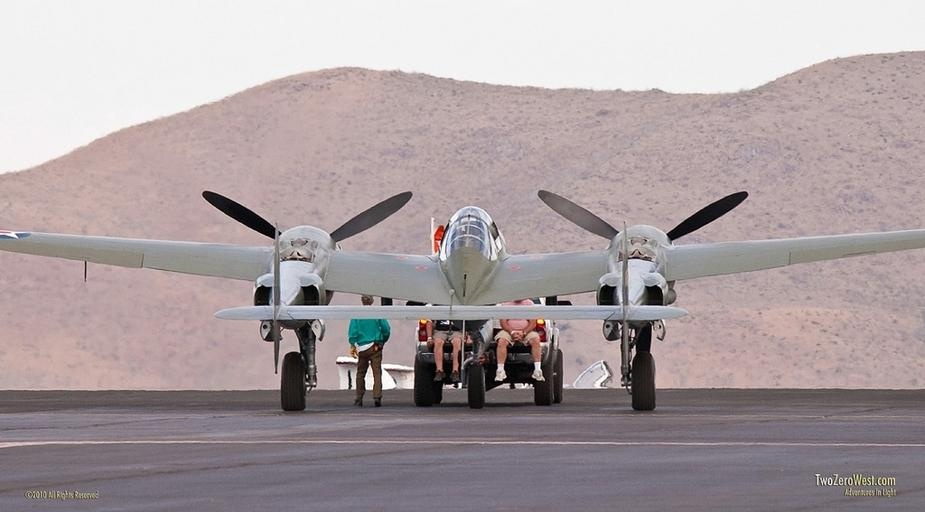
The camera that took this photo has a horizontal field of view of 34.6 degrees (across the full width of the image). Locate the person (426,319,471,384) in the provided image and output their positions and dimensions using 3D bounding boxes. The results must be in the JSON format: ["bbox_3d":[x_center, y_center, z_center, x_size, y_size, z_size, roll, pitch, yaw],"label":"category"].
[{"bbox_3d":[-0.591,3.496,55.255,1.239,2.193,0.734,1,-12,7],"label":"person"}]

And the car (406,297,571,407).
[{"bbox_3d":[1.140,4.072,57.163,4.395,2.458,5.826,0,-2,10],"label":"car"}]

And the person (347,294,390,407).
[{"bbox_3d":[-3.592,4.019,55.828,1.422,3.212,1.556,3,-12,-4],"label":"person"}]

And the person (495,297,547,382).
[{"bbox_3d":[2.150,3.498,55.302,1.855,2.301,1.138,4,-12,-7],"label":"person"}]
